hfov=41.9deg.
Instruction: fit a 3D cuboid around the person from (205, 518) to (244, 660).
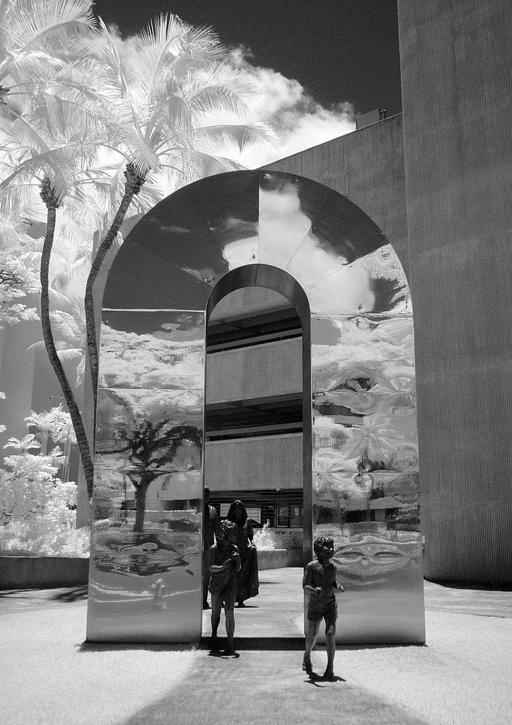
[{"bbox_3d":[-0.277,1.959,5.859,0.258,1.143,0.604,0,-9,-4],"label":"person"}]
